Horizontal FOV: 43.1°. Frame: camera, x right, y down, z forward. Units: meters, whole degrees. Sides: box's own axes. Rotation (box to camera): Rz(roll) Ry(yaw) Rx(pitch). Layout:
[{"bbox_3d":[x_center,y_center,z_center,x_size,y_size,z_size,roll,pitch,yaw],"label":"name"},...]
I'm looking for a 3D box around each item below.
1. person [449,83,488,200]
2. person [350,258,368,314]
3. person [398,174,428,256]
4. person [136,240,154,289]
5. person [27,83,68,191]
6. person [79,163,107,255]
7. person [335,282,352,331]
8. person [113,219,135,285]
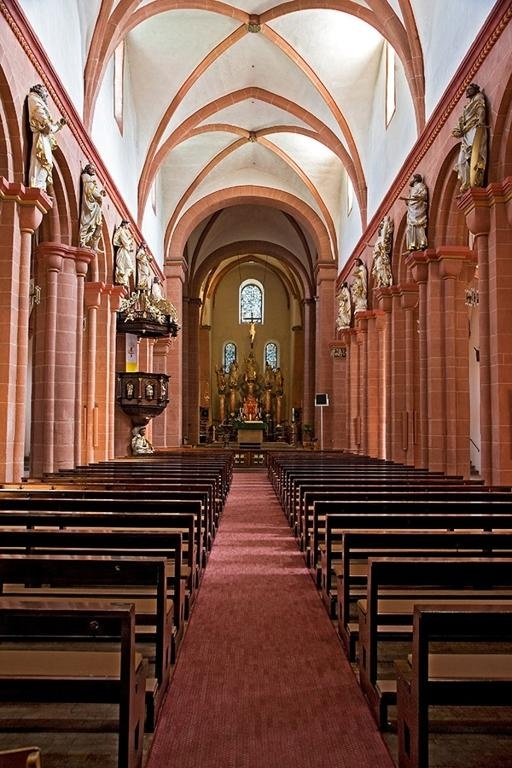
[{"bbox_3d":[3.007,-3.361,9.034,0.302,1.362,0.525,2,-4,-29],"label":"person"},{"bbox_3d":[3.066,-2.937,19.281,0.359,1.754,1.222,1,-3,-5],"label":"person"},{"bbox_3d":[3.053,-3.265,12.335,0.376,1.568,0.546,1,-3,-18],"label":"person"},{"bbox_3d":[-3.106,-3.256,18.099,0.342,1.325,0.918,0,-3,3],"label":"person"},{"bbox_3d":[-2.937,-3.413,9.011,0.388,1.691,0.626,-1,-3,18],"label":"person"},{"bbox_3d":[-2.990,-3.239,11.911,0.408,1.676,0.407,2,-3,-22],"label":"person"},{"bbox_3d":[3.006,-2.639,22.057,0.315,1.713,0.965,1,-3,-4],"label":"person"},{"bbox_3d":[-3.166,-3.122,15.528,0.435,1.715,0.569,1,-3,-11],"label":"person"}]
